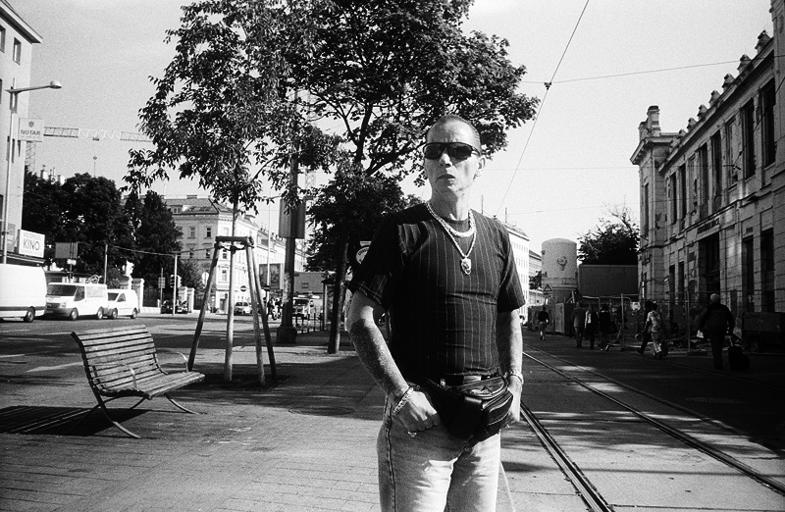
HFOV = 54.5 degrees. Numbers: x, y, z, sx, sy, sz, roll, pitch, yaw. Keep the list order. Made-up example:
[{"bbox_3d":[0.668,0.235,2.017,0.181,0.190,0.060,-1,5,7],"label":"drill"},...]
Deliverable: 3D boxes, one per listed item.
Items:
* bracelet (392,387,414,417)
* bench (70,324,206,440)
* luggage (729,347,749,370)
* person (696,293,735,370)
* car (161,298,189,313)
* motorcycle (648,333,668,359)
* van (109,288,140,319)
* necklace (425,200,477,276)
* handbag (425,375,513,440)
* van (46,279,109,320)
[{"bbox_3d":[0.069,1.213,6.333,0.203,0.051,0.202,-49,-5,-46],"label":"bracelet"},{"bbox_3d":[-4.166,1.711,11.821,1.729,1.023,0.793,-8,-29,36],"label":"bench"},{"bbox_3d":[9.064,2.716,20.183,0.463,0.713,0.158,-20,7,-17],"label":"luggage"},{"bbox_3d":[8.832,2.036,20.816,0.792,2.067,1.139,-4,-6,24],"label":"person"},{"bbox_3d":[-21.138,5.157,75.749,2.232,1.048,1.497,3,0,31],"label":"car"},{"bbox_3d":[8.553,2.910,24.521,0.426,0.743,0.660,-3,-6,13],"label":"motorcycle"},{"bbox_3d":[-17.187,3.042,48.146,1.113,1.987,4.769,0,-7,-10],"label":"van"},{"bbox_3d":[0.539,-0.151,6.626,0.333,0.629,0.158,0,-15,-27],"label":"necklace"},{"bbox_3d":[0.637,1.254,6.396,0.579,0.319,0.485,11,3,30],"label":"handbag"},{"bbox_3d":[-17.962,2.545,43.018,1.146,2.103,4.585,-2,-7,11],"label":"van"}]
